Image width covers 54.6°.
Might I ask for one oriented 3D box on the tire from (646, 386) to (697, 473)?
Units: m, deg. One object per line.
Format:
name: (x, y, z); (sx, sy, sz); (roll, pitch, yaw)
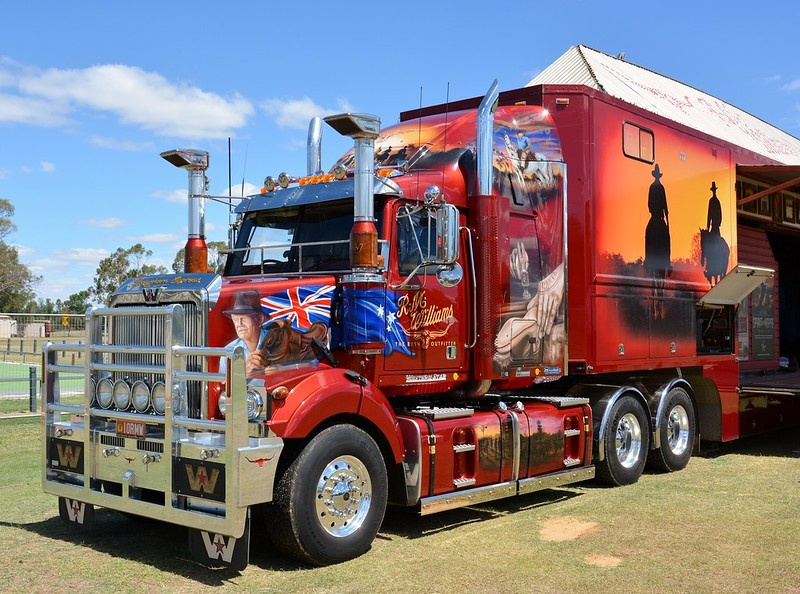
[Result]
tire: (4.152, 2.038, 11.969); (0.335, 1.156, 1.098); (2, 12, 42)

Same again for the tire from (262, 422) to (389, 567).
tire: (-0.767, 1.925, 7.514); (0.431, 1.249, 1.172); (-10, -15, 43)

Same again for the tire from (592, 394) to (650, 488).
tire: (3.175, 2.053, 11.246); (0.428, 1.335, 1.257); (-3, -2, 45)

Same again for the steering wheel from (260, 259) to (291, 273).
steering wheel: (-1.435, -0.343, 8.911); (0.259, 0.101, 0.186); (5, -2, -23)
